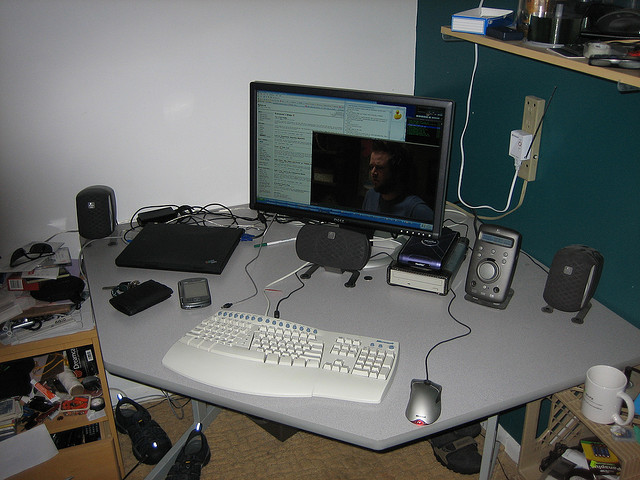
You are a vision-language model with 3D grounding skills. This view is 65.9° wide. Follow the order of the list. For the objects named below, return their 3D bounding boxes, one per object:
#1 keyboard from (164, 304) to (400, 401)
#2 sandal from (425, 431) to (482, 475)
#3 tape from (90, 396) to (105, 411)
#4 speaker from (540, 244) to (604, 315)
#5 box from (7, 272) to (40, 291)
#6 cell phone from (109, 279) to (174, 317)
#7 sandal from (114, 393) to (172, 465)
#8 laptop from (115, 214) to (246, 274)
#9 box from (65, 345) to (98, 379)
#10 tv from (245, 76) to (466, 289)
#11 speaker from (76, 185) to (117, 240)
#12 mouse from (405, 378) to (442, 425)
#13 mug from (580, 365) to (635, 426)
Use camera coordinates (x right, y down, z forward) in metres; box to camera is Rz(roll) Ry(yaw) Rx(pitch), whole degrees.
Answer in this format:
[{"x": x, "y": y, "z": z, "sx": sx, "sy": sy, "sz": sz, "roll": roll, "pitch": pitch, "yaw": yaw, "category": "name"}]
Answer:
[{"x": -0.123, "y": 0.335, "z": 1.417, "sx": 0.659, "sy": 0.091, "sz": 0.255, "roll": 7, "pitch": 23, "yaw": 13, "category": "keyboard"}, {"x": 0.551, "y": 0.879, "z": 2.035, "sx": 0.214, "sy": 0.104, "sz": 0.146, "roll": 7, "pitch": 24, "yaw": 14, "category": "sandal"}, {"x": -0.814, "y": 0.601, "z": 1.805, "sx": 0.048, "sy": 0.034, "sz": 0.049, "roll": -9, "pitch": 25, "yaw": -24, "category": "tape"}, {"x": 0.823, "y": 0.136, "z": 1.591, "sx": 0.144, "sy": 0.232, "sz": 0.141, "roll": -20, "pitch": 28, "yaw": -34, "category": "speaker"}, {"x": -1.058, "y": 0.159, "z": 1.757, "sx": 0.106, "sy": 0.069, "sz": 0.057, "roll": 1, "pitch": 14, "yaw": -7, "category": "box"}, {"x": -0.581, "y": 0.173, "z": 1.614, "sx": 0.120, "sy": 0.028, "sz": 0.116, "roll": 20, "pitch": 33, "yaw": 32, "category": "cell phone"}, {"x": -0.788, "y": 0.820, "z": 2.159, "sx": 0.140, "sy": 0.141, "sz": 0.417, "roll": -19, "pitch": 30, "yaw": -39, "category": "sandal"}, {"x": -0.523, "y": 0.024, "z": 1.890, "sx": 0.391, "sy": 0.080, "sz": 0.286, "roll": 5, "pitch": 23, "yaw": 8, "category": "laptop"}, {"x": -0.918, "y": 0.471, "z": 1.899, "sx": 0.087, "sy": 0.110, "sz": 0.113, "roll": -14, "pitch": 27, "yaw": -31, "category": "box"}, {"x": 0.110, "y": -0.178, "z": 1.756, "sx": 0.715, "sy": 0.630, "sz": 0.350, "roll": 11, "pitch": 34, "yaw": 17, "category": "tv"}, {"x": -0.896, "y": -0.114, "z": 1.979, "sx": 0.139, "sy": 0.192, "sz": 0.137, "roll": -6, "pitch": 24, "yaw": -17, "category": "speaker"}, {"x": 0.277, "y": 0.423, "z": 1.302, "sx": 0.096, "sy": 0.045, "sz": 0.154, "roll": 6, "pitch": 34, "yaw": 21, "category": "mouse"}, {"x": 0.818, "y": 0.447, "z": 1.396, "sx": 0.132, "sy": 0.163, "sz": 0.088, "roll": 17, "pitch": 28, "yaw": 32, "category": "mug"}]
